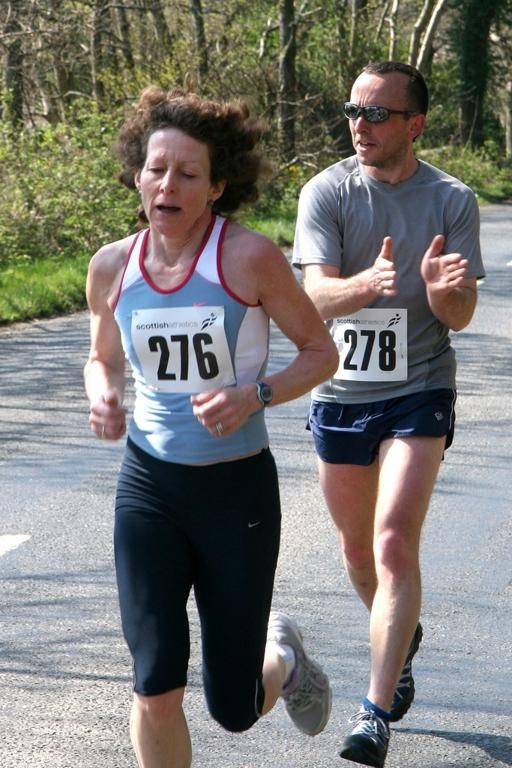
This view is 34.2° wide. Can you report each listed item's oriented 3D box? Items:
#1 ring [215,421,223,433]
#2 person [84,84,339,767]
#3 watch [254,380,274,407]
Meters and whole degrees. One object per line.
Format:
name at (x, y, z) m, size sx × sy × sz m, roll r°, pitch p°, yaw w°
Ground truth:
ring at (-0.076, 0.090, 1.710) m, size 0.018 × 0.017 × 0.004 m, roll 19°, pitch 23°, yaw 42°
person at (-0.086, 0.044, 1.940) m, size 0.594 × 1.435 × 0.851 m, roll -7°, pitch 17°, yaw -12°
watch at (0.016, 0.022, 1.800) m, size 0.037 × 0.055 × 0.053 m, roll -12°, pitch 4°, yaw -26°
